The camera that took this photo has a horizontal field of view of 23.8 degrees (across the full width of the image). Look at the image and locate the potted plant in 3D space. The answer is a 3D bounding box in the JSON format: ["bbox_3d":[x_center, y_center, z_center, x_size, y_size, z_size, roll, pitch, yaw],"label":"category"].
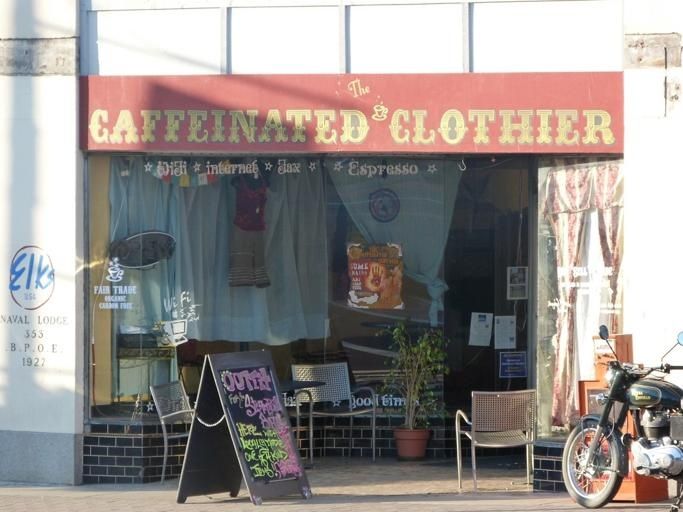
[{"bbox_3d":[0.922,1.672,19.996,0.811,1.677,0.520,-1,-2,3],"label":"potted plant"}]

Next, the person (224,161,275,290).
[{"bbox_3d":[-1.131,-0.313,20.045,0.506,1.406,0.203,0,-2,-25],"label":"person"}]

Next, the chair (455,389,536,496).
[{"bbox_3d":[1.806,2.104,18.643,0.921,1.113,1.350,-2,-2,6],"label":"chair"}]

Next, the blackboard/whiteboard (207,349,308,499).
[{"bbox_3d":[-0.906,1.860,17.587,1.016,1.640,0.565,0,-2,-35],"label":"blackboard/whiteboard"}]

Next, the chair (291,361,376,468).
[{"bbox_3d":[-0.107,1.967,19.887,0.933,1.185,0.871,0,-1,-33],"label":"chair"}]
